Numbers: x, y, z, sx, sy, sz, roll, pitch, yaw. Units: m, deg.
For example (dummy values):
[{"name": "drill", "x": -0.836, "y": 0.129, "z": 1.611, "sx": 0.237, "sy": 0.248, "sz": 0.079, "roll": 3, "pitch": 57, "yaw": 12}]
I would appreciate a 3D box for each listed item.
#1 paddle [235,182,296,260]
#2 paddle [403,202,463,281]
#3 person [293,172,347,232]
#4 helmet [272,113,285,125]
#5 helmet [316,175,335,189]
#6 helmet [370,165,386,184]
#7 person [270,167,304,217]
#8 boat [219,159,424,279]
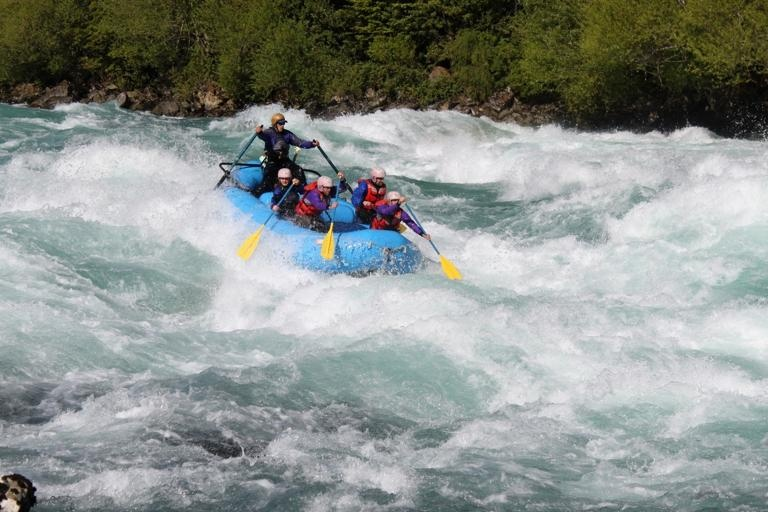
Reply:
[{"name": "paddle", "x": -2.904, "y": -0.797, "z": 25.621, "sx": 0.380, "sy": 0.137, "sz": 2.584, "roll": 38, "pitch": 67, "yaw": 5}, {"name": "paddle", "x": 1.245, "y": -0.327, "z": 26.369, "sx": 0.325, "sy": 0.113, "sz": 2.635, "roll": -38, "pitch": 78, "yaw": -20}, {"name": "person", "x": -1.603, "y": -1.306, "z": 25.709, "sx": 0.980, "sy": 1.535, "sz": 0.795, "roll": 8, "pitch": 49, "yaw": -32}, {"name": "helmet", "x": -2.755, "y": -3.536, "z": 26.662, "sx": 0.390, "sy": 0.257, "sz": 0.297, "roll": -4, "pitch": 11, "yaw": 35}, {"name": "helmet", "x": -1.434, "y": -1.826, "z": 25.220, "sx": 0.373, "sy": 0.247, "sz": 0.242, "roll": -3, "pitch": 38, "yaw": -5}, {"name": "helmet", "x": -0.135, "y": -2.052, "z": 25.822, "sx": 0.457, "sy": 0.403, "sz": 0.370, "roll": 18, "pitch": 23, "yaw": 40}, {"name": "person", "x": -2.395, "y": -1.594, "z": 25.962, "sx": 1.076, "sy": 1.074, "sz": 1.975, "roll": -1, "pitch": 17, "yaw": -7}, {"name": "boat", "x": -1.816, "y": -0.734, "z": 25.532, "sx": 4.818, "sy": 1.109, "sz": 2.235, "roll": 25, "pitch": 21, "yaw": 15}]
